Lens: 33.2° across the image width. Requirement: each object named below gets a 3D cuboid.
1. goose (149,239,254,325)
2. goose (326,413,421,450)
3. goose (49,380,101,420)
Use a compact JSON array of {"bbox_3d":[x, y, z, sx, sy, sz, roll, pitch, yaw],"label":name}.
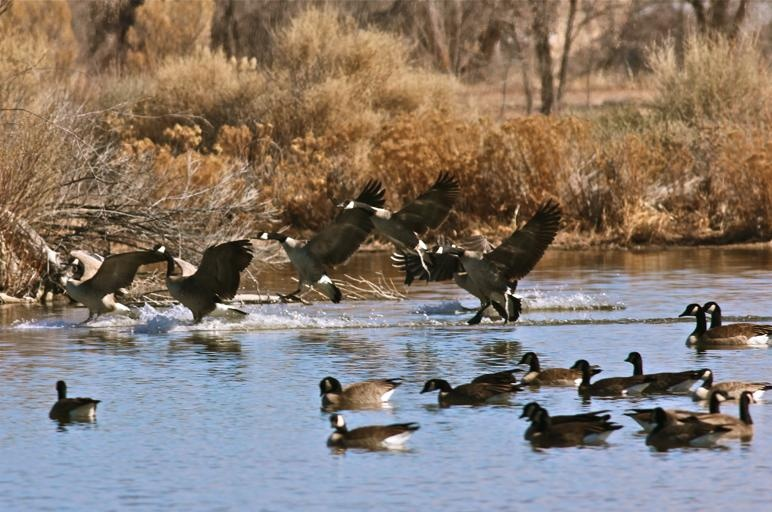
[{"bbox_3d":[-3.524,0.440,26.288,1.731,1.080,2.228,12,-13,-29],"label":"goose"},{"bbox_3d":[-0.252,2.789,20.509,1.552,0.791,0.546,-1,-19,4],"label":"goose"},{"bbox_3d":[-5.192,2.440,21.758,0.965,0.679,0.638,0,0,7],"label":"goose"}]
